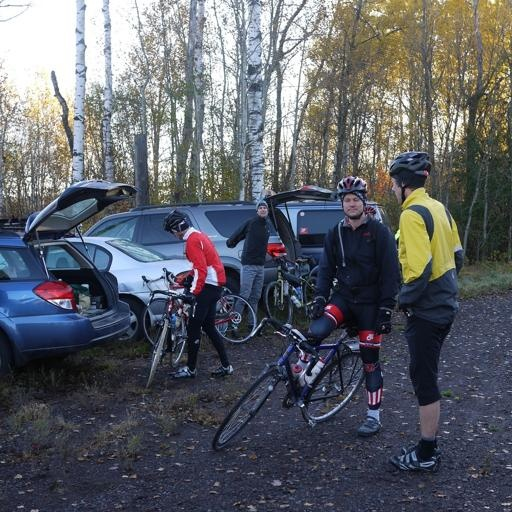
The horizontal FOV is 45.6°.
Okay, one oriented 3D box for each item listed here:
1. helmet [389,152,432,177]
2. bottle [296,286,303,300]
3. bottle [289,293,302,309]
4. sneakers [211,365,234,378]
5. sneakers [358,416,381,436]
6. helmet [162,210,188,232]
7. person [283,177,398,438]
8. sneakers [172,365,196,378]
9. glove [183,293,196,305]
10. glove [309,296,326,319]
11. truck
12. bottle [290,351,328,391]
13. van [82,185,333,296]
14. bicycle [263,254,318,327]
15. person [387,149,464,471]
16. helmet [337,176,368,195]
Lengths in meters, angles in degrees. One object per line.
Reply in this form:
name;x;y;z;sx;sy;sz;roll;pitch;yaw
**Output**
helmet;1.105;-0.653;4.361;0.237;0.158;0.182;4;7;30
bottle;0.763;0.642;10.601;0.074;0.209;0.145;3;-11;-31
bottle;0.689;0.763;10.378;0.089;0.255;0.186;-36;3;13
sneakers;-0.396;1.356;7.159;0.282;0.135;0.102;-1;1;-5
sneakers;0.958;1.435;5.106;0.095;0.110;0.240;-5;-8;29
helmet;-0.874;-0.404;6.748;0.252;0.233;0.197;23;31;37
person;0.811;0.427;5.010;0.734;2.152;0.612;0;4;15
sneakers;-0.828;1.362;7.157;0.320;0.142;0.129;3;-2;-4
glove;-0.722;0.460;6.667;0.140;0.110;0.127;23;-4;0
glove;0.502;0.413;5.029;0.107;0.192;0.049;31;-27;-16
truck;1.503;-0.480;11.733;1.953;1.196;1.195;-4;2;0
bottle;0.423;0.918;5.121;0.331;0.338;0.204;0;32;-42
van;-0.902;-0.463;10.865;3.808;1.653;1.827;5;3;3
bicycle;0.649;0.572;10.595;0.665;0.848;1.364;1;1;30
person;1.195;0.390;4.313;0.505;2.309;0.586;0;4;15
helmet;0.784;-0.579;4.934;0.229;0.153;0.298;0;4;10
